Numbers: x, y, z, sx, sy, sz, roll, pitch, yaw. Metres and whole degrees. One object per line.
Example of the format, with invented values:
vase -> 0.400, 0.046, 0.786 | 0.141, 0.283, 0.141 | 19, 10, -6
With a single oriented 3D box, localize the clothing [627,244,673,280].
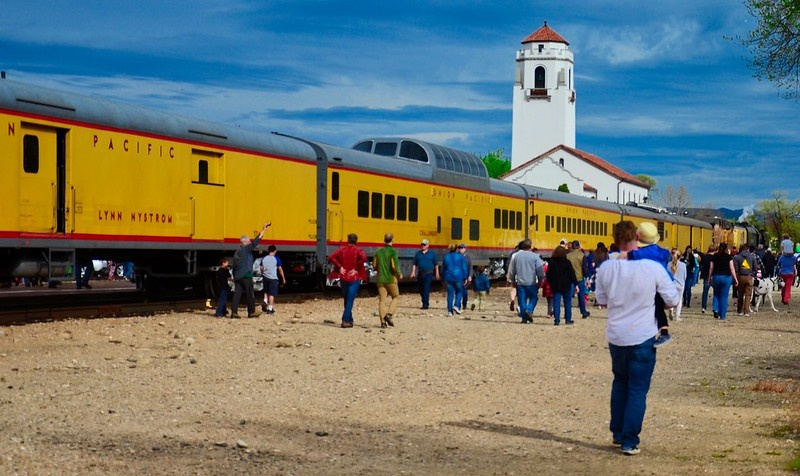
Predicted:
clothing -> 4.031, 0.364, 14.286 | 0.542, 0.291, 0.713 | 7, -5, 41

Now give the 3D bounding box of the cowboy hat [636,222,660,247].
cowboy hat -> 4.032, -0.083, 14.588 | 0.363, 0.153, 0.415 | 0, 32, 5

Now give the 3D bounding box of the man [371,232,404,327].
man -> -0.341, 1.079, 23.390 | 0.632, 2.450, 1.305 | 2, 7, -1

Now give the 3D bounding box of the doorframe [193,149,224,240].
doorframe -> -5.288, -1.150, 24.435 | 0.423, 2.434, 1.263 | 6, 8, 30

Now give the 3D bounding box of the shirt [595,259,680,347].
shirt -> 3.717, 1.006, 14.093 | 1.246, 1.356, 0.466 | 3, 7, 11

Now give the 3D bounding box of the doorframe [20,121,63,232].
doorframe -> -8.479, -1.396, 20.983 | 1.127, 2.539, 0.476 | -5, 10, -43
